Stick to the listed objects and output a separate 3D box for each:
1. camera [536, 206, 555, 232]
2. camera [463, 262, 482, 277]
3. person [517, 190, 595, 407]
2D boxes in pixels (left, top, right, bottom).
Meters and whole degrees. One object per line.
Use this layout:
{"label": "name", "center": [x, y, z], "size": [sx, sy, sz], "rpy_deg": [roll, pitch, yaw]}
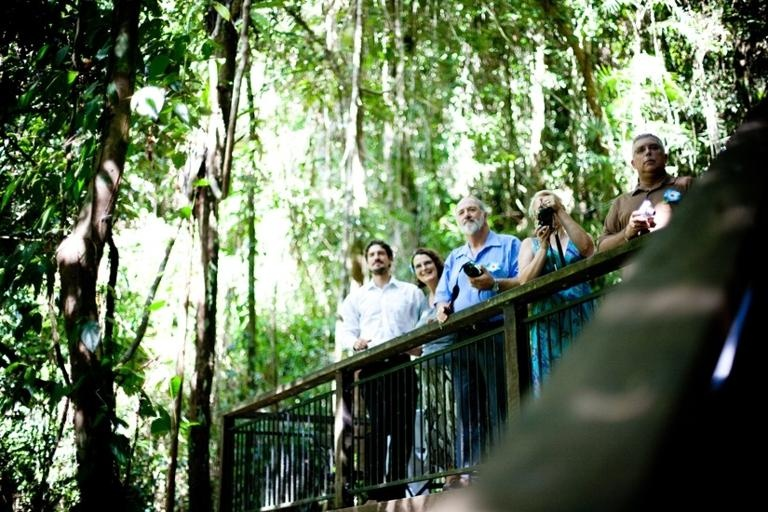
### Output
{"label": "camera", "center": [1.265, -0.298, 7.554], "size": [0.122, 0.293, 0.174], "rpy_deg": [-2, 2, -1]}
{"label": "camera", "center": [0.708, 0.102, 7.662], "size": [0.142, 0.131, 0.112], "rpy_deg": [-8, -10, 4]}
{"label": "person", "center": [1.363, 0.191, 7.451], "size": [0.615, 1.671, 1.088], "rpy_deg": [-7, -10, 8]}
